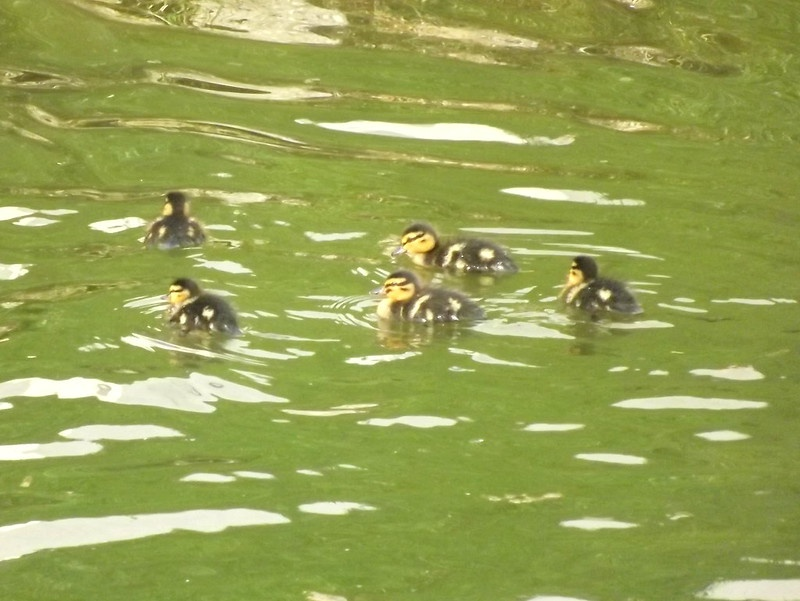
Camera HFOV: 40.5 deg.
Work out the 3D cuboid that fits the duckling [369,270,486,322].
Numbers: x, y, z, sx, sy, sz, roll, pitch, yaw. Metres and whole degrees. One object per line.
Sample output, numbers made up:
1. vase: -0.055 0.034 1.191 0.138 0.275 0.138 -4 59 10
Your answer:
1. duckling: 0.160 0.026 7.938 0.947 0.226 0.368 6 7 -24
